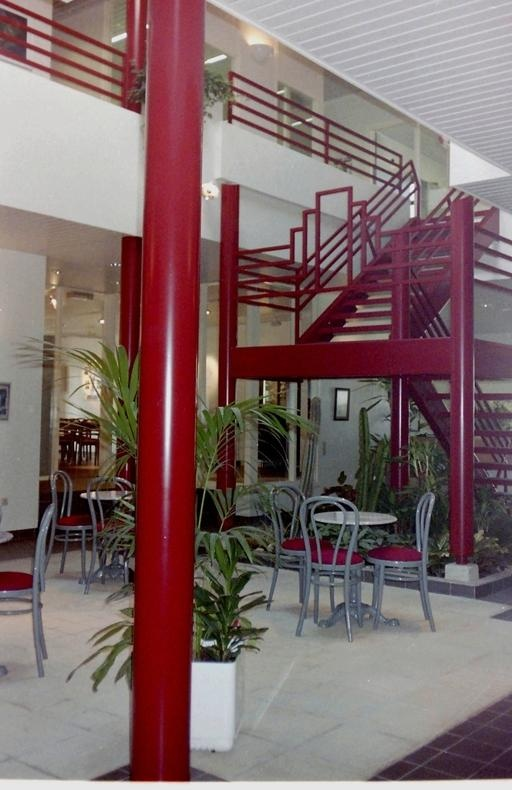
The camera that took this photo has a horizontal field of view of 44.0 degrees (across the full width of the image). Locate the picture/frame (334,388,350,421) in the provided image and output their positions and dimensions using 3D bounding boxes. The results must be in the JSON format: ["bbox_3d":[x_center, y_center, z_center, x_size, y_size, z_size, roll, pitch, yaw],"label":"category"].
[{"bbox_3d":[1.283,0.151,9.428,0.303,0.482,0.069,5,-8,-35],"label":"picture/frame"}]

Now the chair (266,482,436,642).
[{"bbox_3d":[0.659,1.174,4.489,1.118,0.955,1.189,0,-6,-2],"label":"chair"}]
